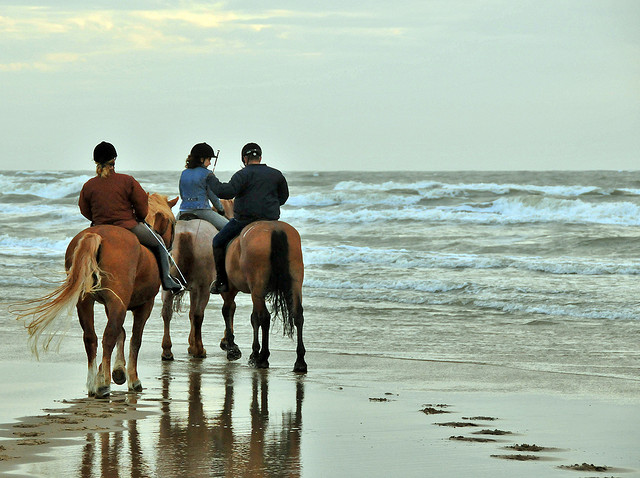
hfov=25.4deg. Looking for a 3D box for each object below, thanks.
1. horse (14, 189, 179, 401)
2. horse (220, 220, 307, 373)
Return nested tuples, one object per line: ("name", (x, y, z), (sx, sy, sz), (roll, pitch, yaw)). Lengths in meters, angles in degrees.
("horse", (-3.692, 0.870, 23.851), (2.519, 3.261, 5.506), (-1, -1, -8))
("horse", (-1.013, 0.979, 24.175), (1.183, 2.550, 1.719), (-1, -1, -13))
